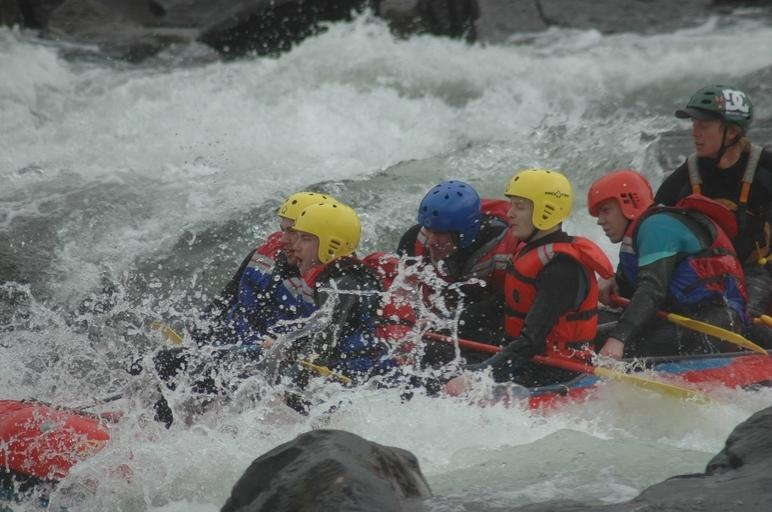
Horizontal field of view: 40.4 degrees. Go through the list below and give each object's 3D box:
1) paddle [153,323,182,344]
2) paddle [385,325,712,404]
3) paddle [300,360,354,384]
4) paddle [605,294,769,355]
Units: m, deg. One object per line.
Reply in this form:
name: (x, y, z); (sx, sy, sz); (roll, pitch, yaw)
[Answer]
paddle: (-2.718, 0.967, 13.027); (0.116, 0.148, 0.644); (-13, 23, -30)
paddle: (2.158, 1.286, 13.175); (4.022, 0.279, 0.238); (9, 12, 41)
paddle: (-0.700, 1.377, 12.332); (0.384, 0.077, 0.366); (20, -2, -2)
paddle: (3.750, 0.876, 13.004); (1.748, 0.175, 0.180); (18, 33, 10)
